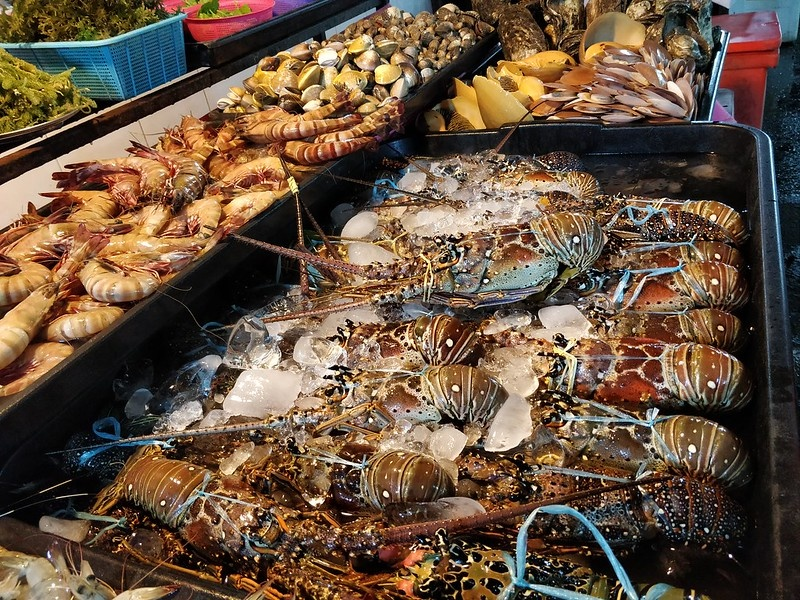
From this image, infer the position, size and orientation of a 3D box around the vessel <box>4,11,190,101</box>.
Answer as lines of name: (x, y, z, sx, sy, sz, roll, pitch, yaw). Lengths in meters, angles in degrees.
vessel: (-1.582, -1.310, 3.209, 0.753, 0.245, 0.498, 16, 53, 18)
